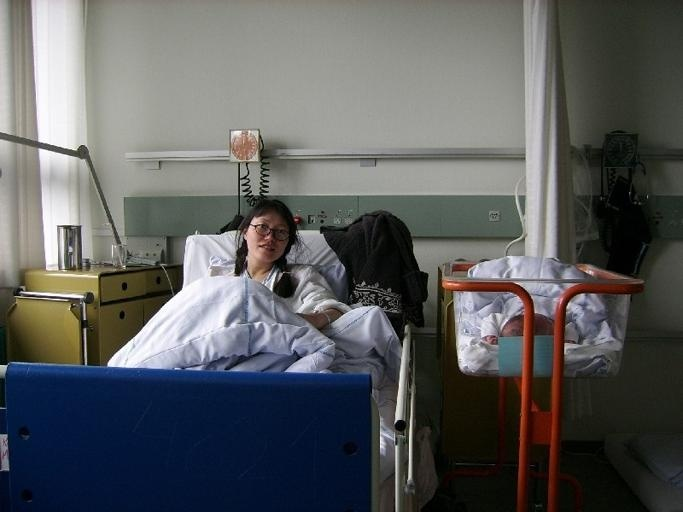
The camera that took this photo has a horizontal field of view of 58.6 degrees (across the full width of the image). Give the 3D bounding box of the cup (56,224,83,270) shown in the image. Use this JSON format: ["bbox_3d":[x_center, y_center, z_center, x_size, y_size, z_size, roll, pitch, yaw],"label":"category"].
[{"bbox_3d":[-1.594,-0.054,3.566,0.154,0.266,0.145,3,9,0],"label":"cup"}]

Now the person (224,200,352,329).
[{"bbox_3d":[-0.364,0.061,2.954,0.728,0.372,0.857,-1,25,-24],"label":"person"}]

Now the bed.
[{"bbox_3d":[-0.303,0.321,2.380,0.784,0.586,1.138,0,11,4],"label":"bed"}]

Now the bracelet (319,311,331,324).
[{"bbox_3d":[-0.074,0.275,2.738,0.017,0.046,0.038,-33,4,-22],"label":"bracelet"}]
